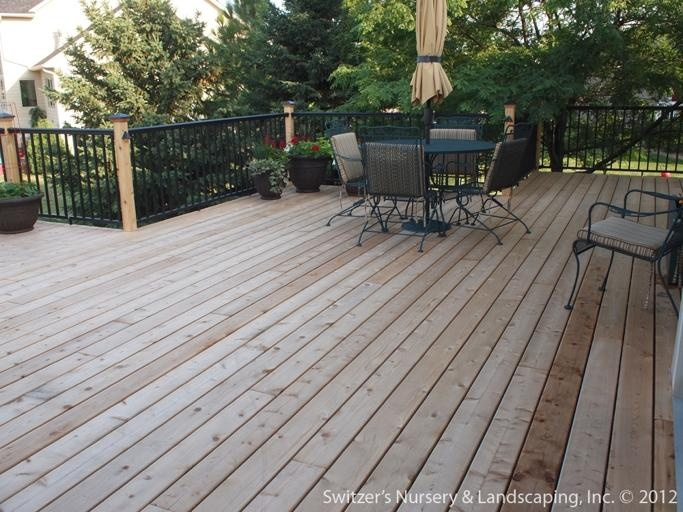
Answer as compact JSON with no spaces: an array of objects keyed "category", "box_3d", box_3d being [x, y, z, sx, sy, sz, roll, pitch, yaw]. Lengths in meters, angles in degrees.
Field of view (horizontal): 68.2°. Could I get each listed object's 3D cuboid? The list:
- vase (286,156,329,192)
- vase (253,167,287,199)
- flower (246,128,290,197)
[{"category":"vase","box_3d":[-0.579,-1.188,7.404,0.743,0.470,0.712,2,12,20]},{"category":"vase","box_3d":[-1.038,-0.967,6.895,0.411,0.390,0.294,-1,14,4]},{"category":"flower","box_3d":[-0.987,-1.260,7.068,0.841,1.021,0.766,-3,18,-5]}]
